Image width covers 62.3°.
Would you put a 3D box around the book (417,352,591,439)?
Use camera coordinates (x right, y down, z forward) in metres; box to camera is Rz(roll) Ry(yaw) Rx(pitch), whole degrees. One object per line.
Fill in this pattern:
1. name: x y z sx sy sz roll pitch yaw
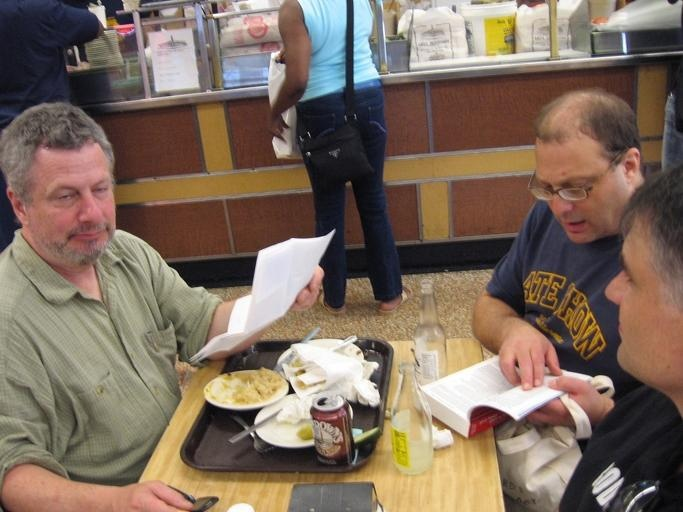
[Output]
1. book: 0.481 0.412 1.696 0.380 0.131 0.358 -11 14 -35

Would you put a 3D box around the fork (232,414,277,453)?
1. fork: -0.260 0.525 1.649 0.051 0.025 0.213 -40 33 -11

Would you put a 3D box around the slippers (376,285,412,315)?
1. slippers: 0.355 0.296 3.777 0.109 0.125 0.305 8 44 31

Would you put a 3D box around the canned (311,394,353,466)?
1. canned: -0.024 0.470 1.523 0.098 0.179 0.098 3 18 31

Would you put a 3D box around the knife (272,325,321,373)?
1. knife: -0.174 0.356 2.161 0.309 0.042 0.027 -49 18 -22

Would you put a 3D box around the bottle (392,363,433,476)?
1. bottle: 0.183 0.429 1.489 0.103 0.290 0.087 -4 20 7
